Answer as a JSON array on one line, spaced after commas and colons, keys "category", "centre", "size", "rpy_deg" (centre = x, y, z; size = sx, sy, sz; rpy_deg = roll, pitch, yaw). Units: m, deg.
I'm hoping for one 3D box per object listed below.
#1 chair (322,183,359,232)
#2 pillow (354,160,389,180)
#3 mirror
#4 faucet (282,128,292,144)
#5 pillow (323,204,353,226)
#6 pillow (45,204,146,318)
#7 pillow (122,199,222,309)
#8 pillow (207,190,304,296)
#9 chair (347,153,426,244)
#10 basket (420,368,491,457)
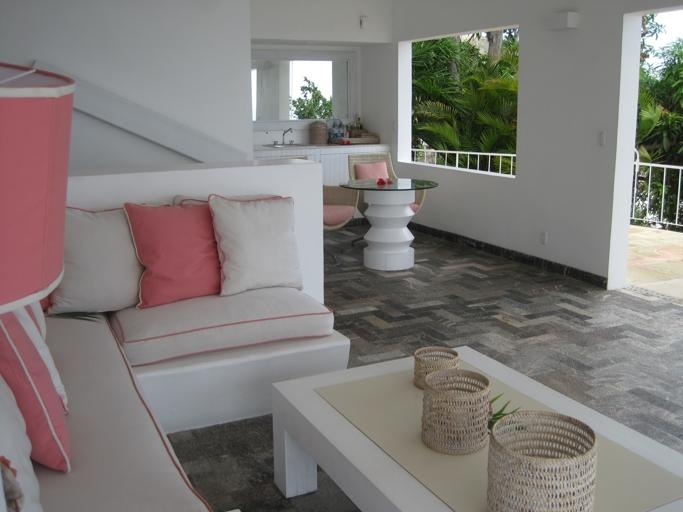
[{"category": "chair", "centre": [-0.047, -0.641, 6.302], "size": [0.594, 0.645, 0.567], "rpy_deg": [-4, 8, -27]}, {"category": "pillow", "centre": [0.415, -1.235, 6.987], "size": [0.440, 0.312, 0.158], "rpy_deg": [-5, -18, -10]}, {"category": "mirror", "centre": [-0.754, -2.939, 8.401], "size": [2.283, 1.397, 0.123], "rpy_deg": [-2, 13, -13]}, {"category": "faucet", "centre": [-0.967, -2.126, 8.580], "size": [0.205, 0.264, 0.072], "rpy_deg": [-15, 17, -39]}, {"category": "pillow", "centre": [-0.078, -0.524, 6.099], "size": [0.286, 0.100, 0.286], "rpy_deg": [-6, 22, -19]}, {"category": "pillow", "centre": [-1.514, 0.036, 2.912], "size": [0.537, 0.615, 0.341], "rpy_deg": [-10, 14, -25]}, {"category": "pillow", "centre": [-1.033, -0.023, 3.069], "size": [0.338, 0.578, 0.650], "rpy_deg": [16, 13, 35]}, {"category": "pillow", "centre": [-0.580, -0.068, 3.118], "size": [0.639, 0.648, 0.328], "rpy_deg": [-4, 12, -33]}, {"category": "chair", "centre": [0.573, -0.866, 6.894], "size": [1.118, 1.157, 1.089], "rpy_deg": [7, 17, 26]}, {"category": "basket", "centre": [0.405, 0.573, 1.806], "size": [0.254, 0.260, 0.275], "rpy_deg": [12, 14, 26]}]
